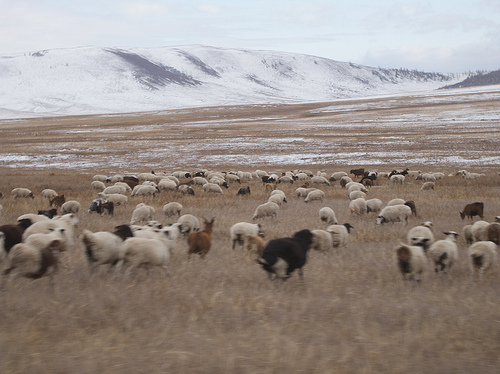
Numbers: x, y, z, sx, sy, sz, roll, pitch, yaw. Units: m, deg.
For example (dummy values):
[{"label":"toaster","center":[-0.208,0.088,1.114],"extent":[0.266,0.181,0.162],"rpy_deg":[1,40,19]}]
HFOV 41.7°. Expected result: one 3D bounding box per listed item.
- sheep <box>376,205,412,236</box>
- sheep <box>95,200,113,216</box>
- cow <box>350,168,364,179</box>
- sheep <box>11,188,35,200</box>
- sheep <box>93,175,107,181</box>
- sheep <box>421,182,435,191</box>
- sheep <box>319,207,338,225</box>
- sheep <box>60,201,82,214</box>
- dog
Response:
[{"label":"sheep","center":[6.027,1.203,27.882],"extent":[1.391,0.832,0.529],"rpy_deg":[0,13,6]},{"label":"sheep","center":[-6.413,0.929,28.984],"extent":[0.785,0.508,0.662],"rpy_deg":[-4,12,-16]},{"label":"cow","center":[7.092,-0.920,43.787],"extent":[0.752,0.487,1.022],"rpy_deg":[-2,10,-4]},{"label":"sheep","center":[-11.340,0.338,32.967],"extent":[1.043,0.440,1.034],"rpy_deg":[-5,11,-23]},{"label":"sheep","center":[-8.947,-0.479,39.233],"extent":[0.841,0.399,0.445],"rpy_deg":[-5,12,-18]},{"label":"sheep","center":[9.749,-0.052,36.367],"extent":[0.766,0.357,0.718],"rpy_deg":[0,10,3]},{"label":"sheep","center":[3.292,1.238,27.726],"extent":[0.598,0.649,0.818],"rpy_deg":[-10,14,-33]},{"label":"sheep","center":[-7.956,0.919,29.087],"extent":[0.839,0.506,0.741],"rpy_deg":[-3,11,-11]},{"label":"dog","center":[1.220,2.273,21.094],"extent":[1.153,1.243,1.687],"rpy_deg":[8,14,35]}]
